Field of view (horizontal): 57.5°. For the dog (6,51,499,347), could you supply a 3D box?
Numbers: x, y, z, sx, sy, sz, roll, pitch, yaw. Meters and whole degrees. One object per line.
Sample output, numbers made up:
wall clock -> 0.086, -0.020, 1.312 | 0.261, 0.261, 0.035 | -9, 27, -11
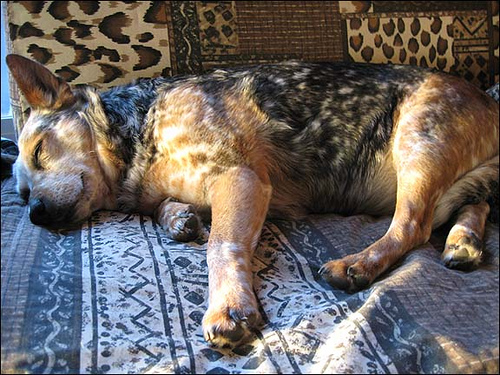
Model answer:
dog -> 0.357, 0.191, 3.310 | 3.883, 1.256, 1.996 | -4, 59, -13
